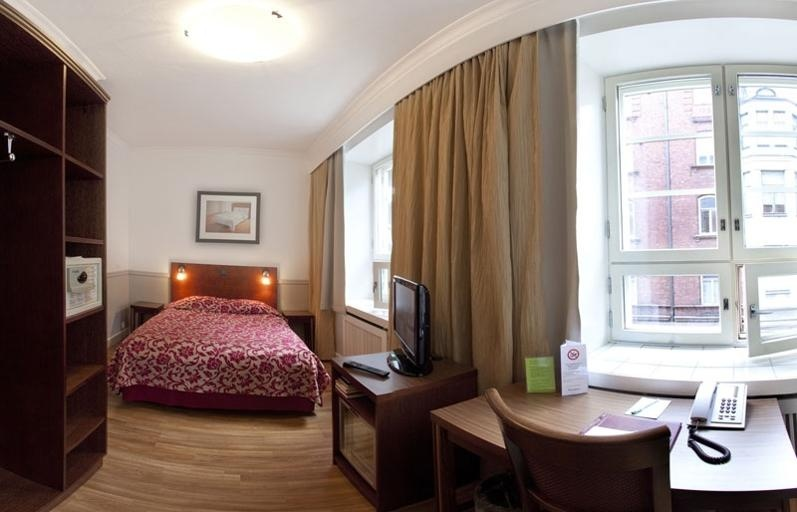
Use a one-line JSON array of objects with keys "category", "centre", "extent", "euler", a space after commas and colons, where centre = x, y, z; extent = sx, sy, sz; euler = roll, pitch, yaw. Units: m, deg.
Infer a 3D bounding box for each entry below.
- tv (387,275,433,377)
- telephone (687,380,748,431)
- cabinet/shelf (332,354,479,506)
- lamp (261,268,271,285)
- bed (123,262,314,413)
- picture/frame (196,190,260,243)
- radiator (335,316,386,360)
[{"category": "tv", "centre": [0.096, 0.504, 3.932], "extent": [0.295, 0.569, 0.698], "euler": [1, 0, -12]}, {"category": "telephone", "centre": [1.885, 0.867, 3.195], "extent": [0.283, 0.121, 0.386], "euler": [-12, 13, 42]}, {"category": "cabinet/shelf", "centre": [0.019, 1.117, 4.115], "extent": [0.908, 1.085, 1.130], "euler": [2, -1, -22]}, {"category": "lamp", "centre": [-1.666, 0.271, 6.836], "extent": [0.137, 0.186, 0.046], "euler": [-1, -3, -1]}, {"category": "bed", "centre": [-1.885, 0.819, 5.598], "extent": [1.386, 0.792, 2.039], "euler": [0, 3, -21]}, {"category": "picture/frame", "centre": [-2.184, -0.502, 6.850], "extent": [0.682, 0.554, 0.029], "euler": [0, -1, -5]}, {"category": "radiator", "centre": [-0.367, 0.851, 5.715], "extent": [0.053, 0.431, 0.687], "euler": [-10, -17, 37]}]
